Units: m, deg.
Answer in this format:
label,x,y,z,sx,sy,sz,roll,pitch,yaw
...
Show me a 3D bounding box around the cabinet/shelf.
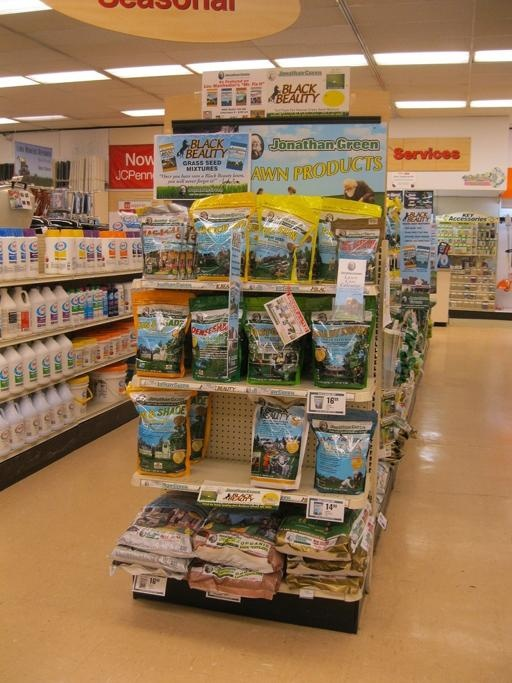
label,x,y,z,sx,sy,sz,roll,pitch,yaw
cabinet/shelf,0.069,0.301,2.283,0.947,1.423,1.035,2,5,17
